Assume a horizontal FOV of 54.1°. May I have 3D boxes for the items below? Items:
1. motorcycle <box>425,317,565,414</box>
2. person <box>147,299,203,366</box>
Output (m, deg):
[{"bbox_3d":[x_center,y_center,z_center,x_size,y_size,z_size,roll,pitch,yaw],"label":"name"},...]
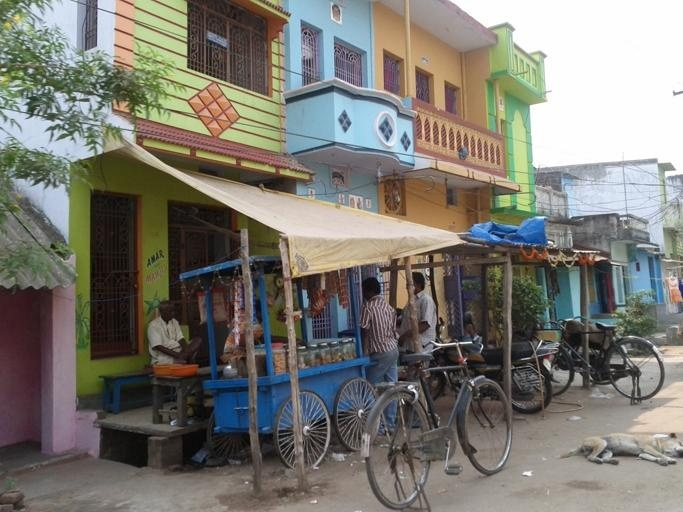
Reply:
[{"bbox_3d":[2.657,2.093,12.425,2.431,1.621,1.599,2,2,36],"label":"motorcycle"},{"bbox_3d":[-3.090,1.353,11.904,0.730,0.864,0.640,-2,1,-6],"label":"person"}]
